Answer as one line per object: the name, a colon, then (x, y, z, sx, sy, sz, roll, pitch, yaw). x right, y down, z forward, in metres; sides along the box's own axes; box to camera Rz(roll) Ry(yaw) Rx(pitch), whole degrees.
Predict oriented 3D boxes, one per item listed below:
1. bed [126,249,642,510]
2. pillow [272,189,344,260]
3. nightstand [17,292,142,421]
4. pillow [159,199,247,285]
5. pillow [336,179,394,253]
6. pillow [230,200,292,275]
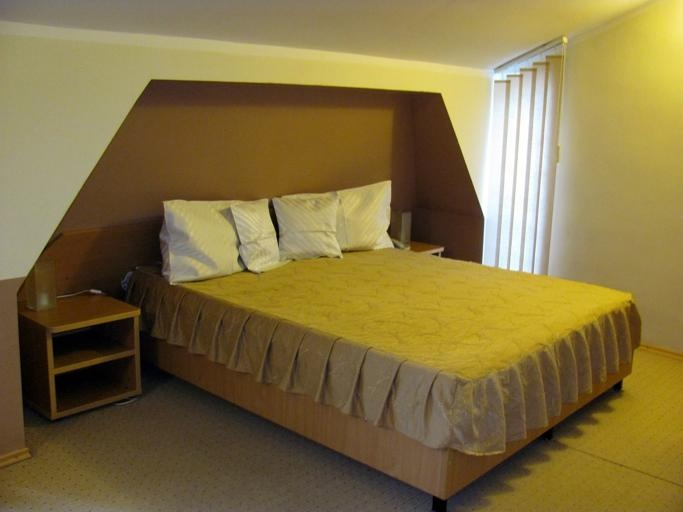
bed: (0.019, 0.483, 3.103, 1.820, 0.470, 1.566, 12, 17, 42)
pillow: (-0.255, -0.216, 4.221, 0.444, 0.484, 0.161, 0, -14, -27)
nightstand: (-1.583, 0.614, 3.378, 0.647, 0.638, 0.684, -8, 13, -43)
pillow: (-0.923, -0.099, 3.903, 0.360, 0.540, 0.734, 9, 7, 32)
pillow: (0.176, -0.315, 4.532, 0.581, 0.487, 0.067, -5, -2, -41)
pillow: (-0.606, -0.130, 3.955, 0.133, 0.468, 0.458, -11, 1, 28)
